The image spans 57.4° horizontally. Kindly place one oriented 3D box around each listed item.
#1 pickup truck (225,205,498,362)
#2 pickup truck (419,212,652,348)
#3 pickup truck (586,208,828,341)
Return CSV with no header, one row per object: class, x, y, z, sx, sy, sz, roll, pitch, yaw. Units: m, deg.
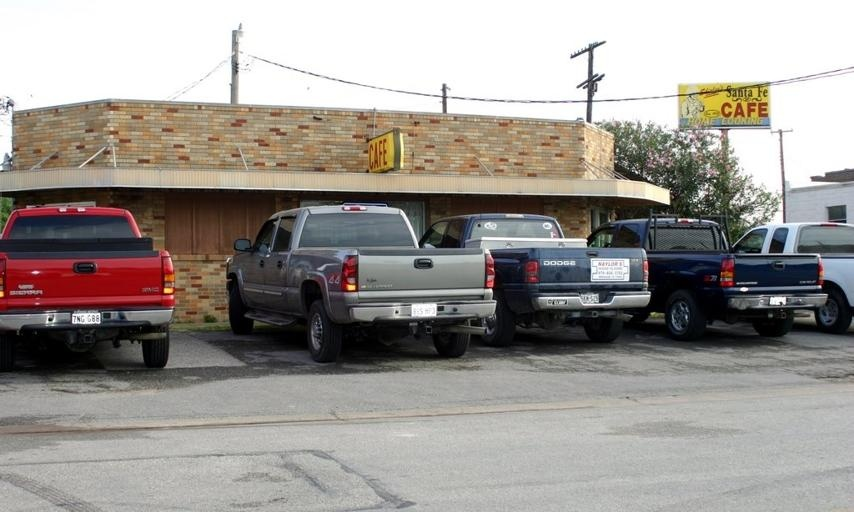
pickup truck,-1.495,0.423,14.761,2.416,2.822,5.116,-3,5,-41
pickup truck,2.060,0.379,16.683,2.715,1.715,4.650,0,4,-28
pickup truck,5.973,0.270,17.461,2.835,1.683,4.889,-1,4,-29
